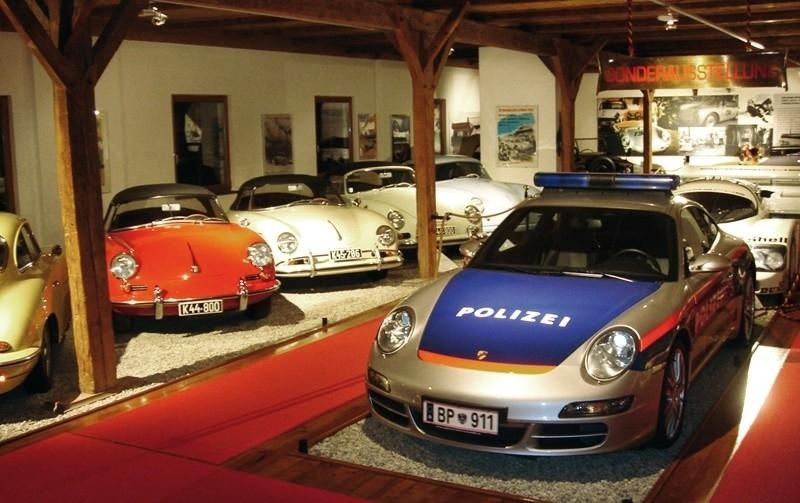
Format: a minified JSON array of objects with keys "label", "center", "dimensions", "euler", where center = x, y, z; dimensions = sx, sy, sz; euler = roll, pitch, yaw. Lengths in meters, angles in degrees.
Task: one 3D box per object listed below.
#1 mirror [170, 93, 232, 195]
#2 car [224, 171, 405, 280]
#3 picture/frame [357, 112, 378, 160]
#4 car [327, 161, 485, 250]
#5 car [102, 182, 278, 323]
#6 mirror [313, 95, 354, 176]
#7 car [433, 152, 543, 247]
[{"label":"mirror","center":[-4.398,-2.387,13.396],"dimensions":[0.389,2.170,1.522],"euler":[6,15,31]},{"label":"car","center":[-1.722,-0.494,10.174],"dimensions":[1.659,0.976,2.785],"euler":[-7,14,-30]},{"label":"picture/frame","center":[-0.913,-3.293,17.162],"dimensions":[0.016,1.302,1.021],"euler":[2,10,29]},{"label":"car","center":[-0.102,-1.031,11.490],"dimensions":[1.616,1.009,2.721],"euler":[-12,18,-39]},{"label":"car","center":[-2.755,0.081,7.671],"dimensions":[1.592,1.001,2.669],"euler":[-6,18,-25]},{"label":"mirror","center":[-1.770,-3.199,16.333],"dimensions":[0.313,2.003,1.438],"euler":[6,15,32]},{"label":"car","center":[1.343,-1.077,11.689],"dimensions":[1.510,0.999,2.555],"euler":[-9,12,-38]}]
